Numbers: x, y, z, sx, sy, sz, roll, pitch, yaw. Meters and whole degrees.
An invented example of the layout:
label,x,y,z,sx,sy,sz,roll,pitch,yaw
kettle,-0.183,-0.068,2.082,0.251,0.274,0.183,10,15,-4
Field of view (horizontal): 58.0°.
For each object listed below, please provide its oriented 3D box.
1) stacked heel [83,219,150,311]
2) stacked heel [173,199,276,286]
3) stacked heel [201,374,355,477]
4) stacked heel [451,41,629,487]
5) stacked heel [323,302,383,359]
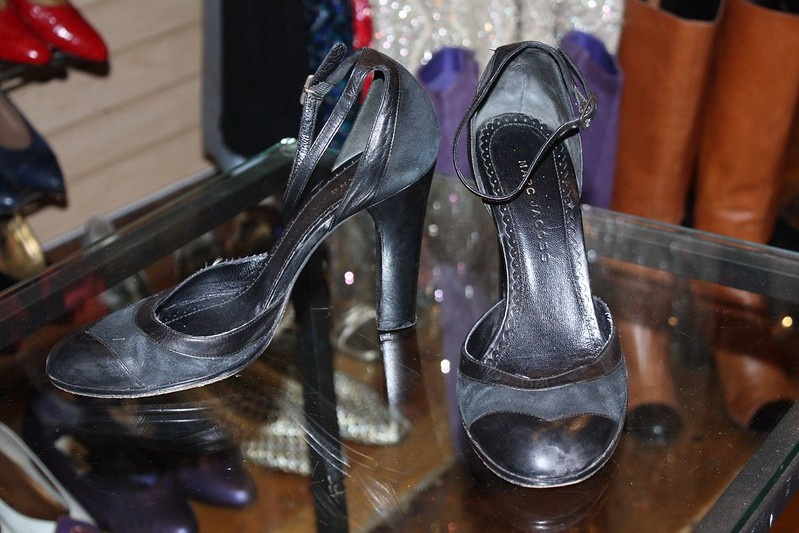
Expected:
label,x,y,z,sx,sy,sz,roll,pitch,yaw
stacked heel,-0.477,0.004,1.217,0.042,0.056,0.150,-22,82,8
stacked heel,-0.303,-0.047,1.293,0.218,0.053,0.092,-33,82,-7
stacked heel,-0.179,0.227,0.997,0.106,0.041,0.138,-23,42,-34
stacked heel,0.191,0.005,1.021,0.193,0.184,0.662,-5,62,12
stacked heel,-0.070,0.103,1.117,0.046,0.024,0.090,-17,39,1
